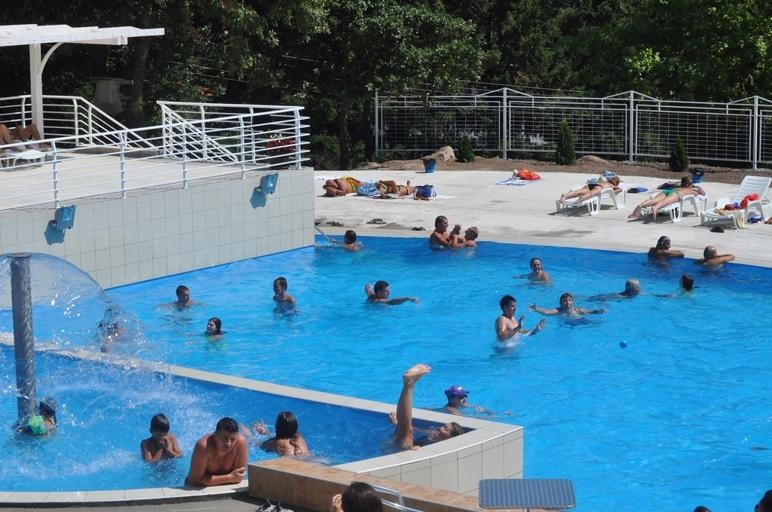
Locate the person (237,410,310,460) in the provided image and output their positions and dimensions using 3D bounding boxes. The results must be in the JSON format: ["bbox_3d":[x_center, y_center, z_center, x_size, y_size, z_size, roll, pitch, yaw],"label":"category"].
[{"bbox_3d":[-1.862,2.988,16.965,1.300,0.741,0.452,6,9,41],"label":"person"}]

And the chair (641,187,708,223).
[{"bbox_3d":[8.423,-1.497,28.139,1.742,0.518,0.976,-20,24,-28],"label":"chair"}]

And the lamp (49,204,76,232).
[{"bbox_3d":[-7.244,-0.846,22.201,0.128,0.505,0.551,17,15,42],"label":"lamp"}]

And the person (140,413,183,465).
[{"bbox_3d":[-3.874,3.144,16.864,0.691,0.877,0.574,-2,-1,-44],"label":"person"}]

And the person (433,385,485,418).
[{"bbox_3d":[1.329,2.691,18.344,0.761,0.393,0.528,1,8,30],"label":"person"}]

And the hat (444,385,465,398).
[{"bbox_3d":[1.299,2.489,18.164,0.323,0.158,0.229,0,3,2],"label":"hat"}]

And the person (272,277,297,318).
[{"bbox_3d":[-2.335,0.943,22.607,0.502,0.821,0.607,-1,7,-6],"label":"person"}]

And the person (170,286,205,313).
[{"bbox_3d":[-4.574,1.005,22.469,0.445,0.544,1.140,-10,-1,35],"label":"person"}]

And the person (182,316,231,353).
[{"bbox_3d":[-3.791,1.681,21.123,0.721,0.464,0.758,3,3,22],"label":"person"}]

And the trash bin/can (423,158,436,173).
[{"bbox_3d":[1.604,-3.309,36.509,0.489,0.371,0.488,0,10,7],"label":"trash bin/can"}]
